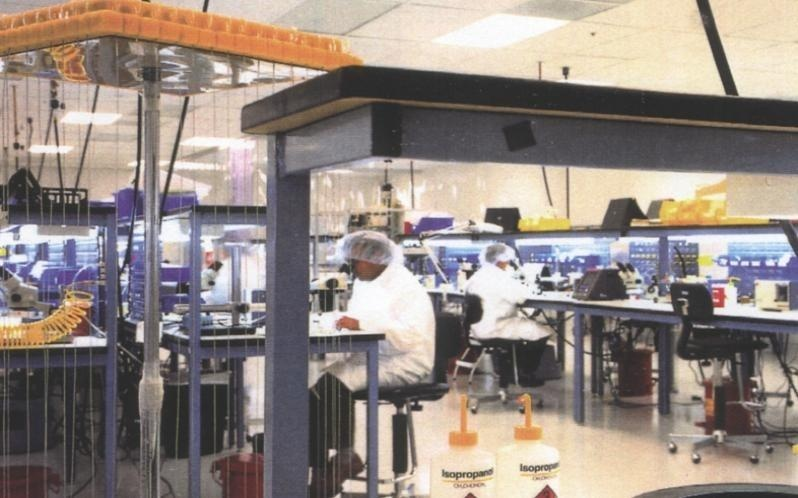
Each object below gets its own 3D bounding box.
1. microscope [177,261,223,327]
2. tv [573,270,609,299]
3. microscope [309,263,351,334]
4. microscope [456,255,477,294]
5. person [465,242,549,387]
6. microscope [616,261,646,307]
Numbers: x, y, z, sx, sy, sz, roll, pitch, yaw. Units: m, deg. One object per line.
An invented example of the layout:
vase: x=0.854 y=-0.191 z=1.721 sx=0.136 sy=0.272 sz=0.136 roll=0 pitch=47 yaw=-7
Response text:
microscope: x=-1.369 y=0.280 z=7.926 sx=0.290 sy=0.499 sz=0.285 roll=1 pitch=3 yaw=1
tv: x=1.593 y=0.307 z=9.531 sx=0.226 sy=0.288 sz=0.290 roll=8 pitch=-3 yaw=-8
microscope: x=-0.435 y=0.313 z=7.381 sx=0.236 sy=0.412 sz=0.200 roll=0 pitch=-2 yaw=2
microscope: x=0.616 y=0.253 z=10.774 sx=0.239 sy=0.424 sz=0.261 roll=1 pitch=-2 yaw=-9
person: x=0.915 y=0.525 z=9.796 sx=0.720 sy=1.224 sz=0.610 roll=1 pitch=2 yaw=-12
microscope: x=2.034 y=0.266 z=9.784 sx=0.215 sy=0.263 sz=0.276 roll=1 pitch=5 yaw=20
